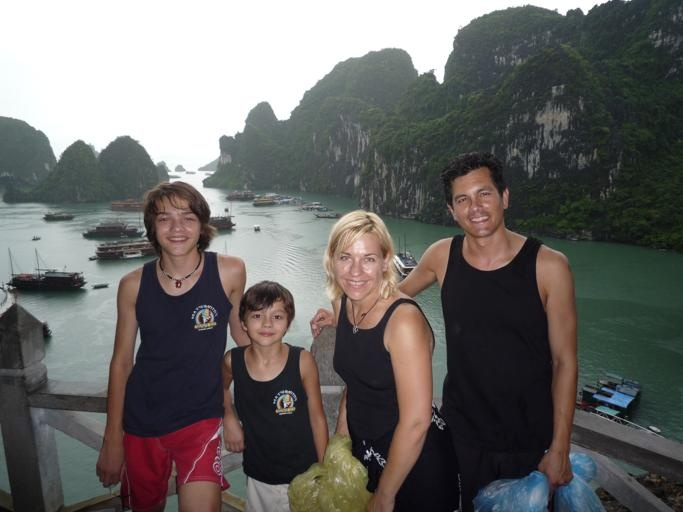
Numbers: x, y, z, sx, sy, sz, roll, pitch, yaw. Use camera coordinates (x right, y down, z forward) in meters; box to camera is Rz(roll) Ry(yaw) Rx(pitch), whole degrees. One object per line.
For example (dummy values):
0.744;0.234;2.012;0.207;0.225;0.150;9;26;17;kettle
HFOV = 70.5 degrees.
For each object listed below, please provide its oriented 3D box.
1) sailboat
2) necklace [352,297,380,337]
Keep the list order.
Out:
-19.301;0.873;31.452;5.377;3.267;1.651;1;14;0;sailboat
0.126;0.370;2.949;0.024;0.295;0.095;8;32;-46;necklace
